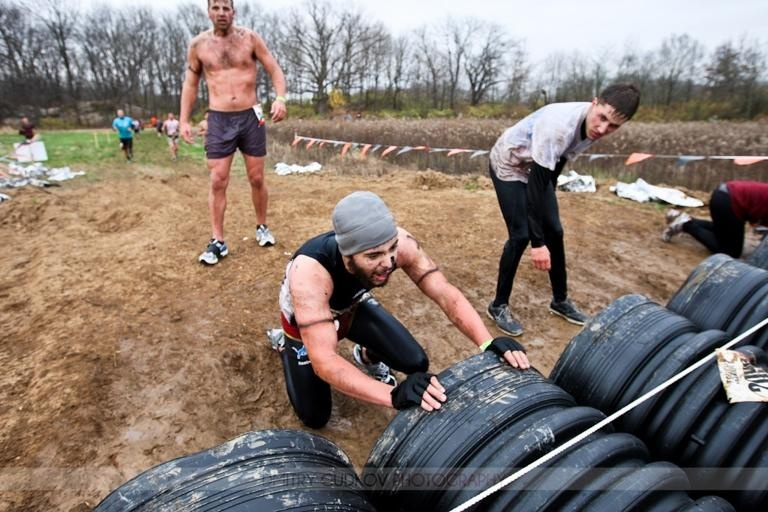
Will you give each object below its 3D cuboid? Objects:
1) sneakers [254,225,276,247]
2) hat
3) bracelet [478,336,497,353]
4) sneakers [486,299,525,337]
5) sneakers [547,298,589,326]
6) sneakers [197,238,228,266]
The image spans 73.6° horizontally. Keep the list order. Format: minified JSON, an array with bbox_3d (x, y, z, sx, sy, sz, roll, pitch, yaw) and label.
[{"bbox_3d":[-1.414,-0.234,6.114,0.149,0.152,0.300,-19,20,-20],"label":"sneakers"},{"bbox_3d":[-0.165,-0.253,3.743,0.488,0.390,0.486,-13,9,37],"label":"hat"},{"bbox_3d":[0.740,0.642,3.703,0.079,0.106,0.099,46,14,6],"label":"bracelet"},{"bbox_3d":[1.151,0.614,4.964,0.194,0.165,0.399,-20,44,-31],"label":"sneakers"},{"bbox_3d":[1.799,0.557,5.060,0.388,0.168,0.186,23,39,19],"label":"sneakers"},{"bbox_3d":[-1.903,-0.032,5.725,0.167,0.189,0.405,2,13,10],"label":"sneakers"}]
